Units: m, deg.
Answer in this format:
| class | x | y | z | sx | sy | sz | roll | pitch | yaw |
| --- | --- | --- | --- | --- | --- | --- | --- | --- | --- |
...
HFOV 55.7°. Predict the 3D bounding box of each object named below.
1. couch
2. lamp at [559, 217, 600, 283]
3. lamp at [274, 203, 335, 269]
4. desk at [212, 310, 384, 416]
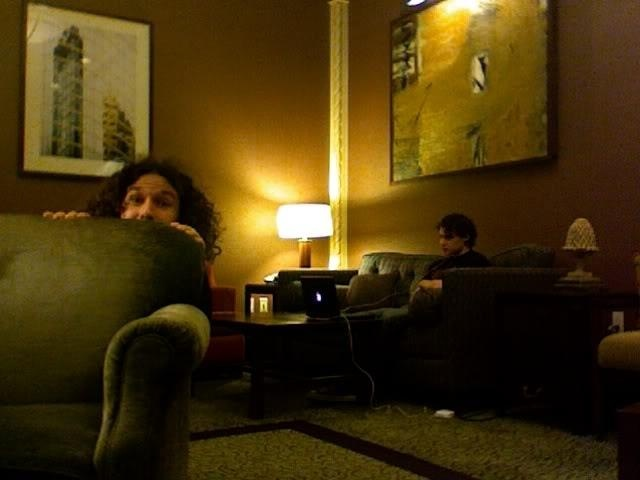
| class | x | y | z | sx | sy | sz | roll | pitch | yaw |
| --- | --- | --- | --- | --- | --- | --- | --- | --- | --- |
| couch | 0.385 | 0.479 | 4.045 | 1.552 | 0.741 | 0.705 | 0 | 6 | 45 |
| lamp | 1.405 | 0.061 | 3.300 | 0.233 | 0.352 | 0.223 | 1 | 2 | -39 |
| lamp | -0.193 | -0.022 | 5.522 | 0.526 | 0.583 | 0.533 | 0 | -7 | -7 |
| desk | -0.289 | 0.693 | 3.688 | 0.828 | 0.510 | 1.131 | 1 | -2 | -34 |
